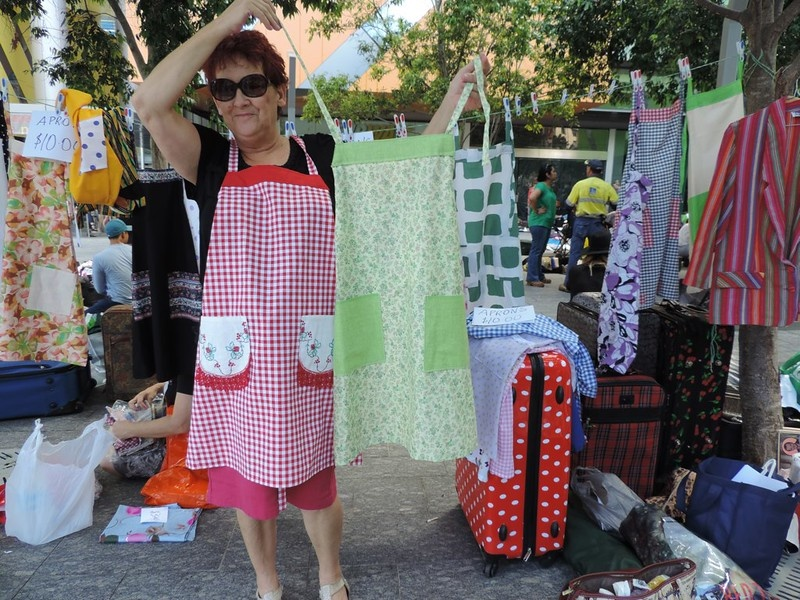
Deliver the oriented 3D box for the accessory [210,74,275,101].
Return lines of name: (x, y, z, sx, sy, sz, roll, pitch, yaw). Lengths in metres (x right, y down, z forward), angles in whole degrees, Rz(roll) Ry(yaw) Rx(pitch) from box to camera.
accessory: (-0.735, -0.965, 3.123, 0.276, 0.122, 0.064, -1, 6, -4)

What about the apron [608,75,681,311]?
apron: (1.529, -0.614, 4.141, 0.338, 1.282, 0.172, 2, 6, 23)

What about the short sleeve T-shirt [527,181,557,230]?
short sleeve T-shirt: (2.162, -1.416, 10.248, 0.364, 0.706, 0.613, 9, 4, 28)

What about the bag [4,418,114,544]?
bag: (-1.904, 1.105, 4.108, 0.449, 0.771, 0.719, -1, -10, 27)

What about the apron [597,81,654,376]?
apron: (1.388, -0.345, 4.193, 0.112, 1.632, 0.387, 4, -3, -10)

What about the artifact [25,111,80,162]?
artifact: (-1.956, -0.908, 3.883, 0.302, 0.325, 0.075, 6, 1, 22)
